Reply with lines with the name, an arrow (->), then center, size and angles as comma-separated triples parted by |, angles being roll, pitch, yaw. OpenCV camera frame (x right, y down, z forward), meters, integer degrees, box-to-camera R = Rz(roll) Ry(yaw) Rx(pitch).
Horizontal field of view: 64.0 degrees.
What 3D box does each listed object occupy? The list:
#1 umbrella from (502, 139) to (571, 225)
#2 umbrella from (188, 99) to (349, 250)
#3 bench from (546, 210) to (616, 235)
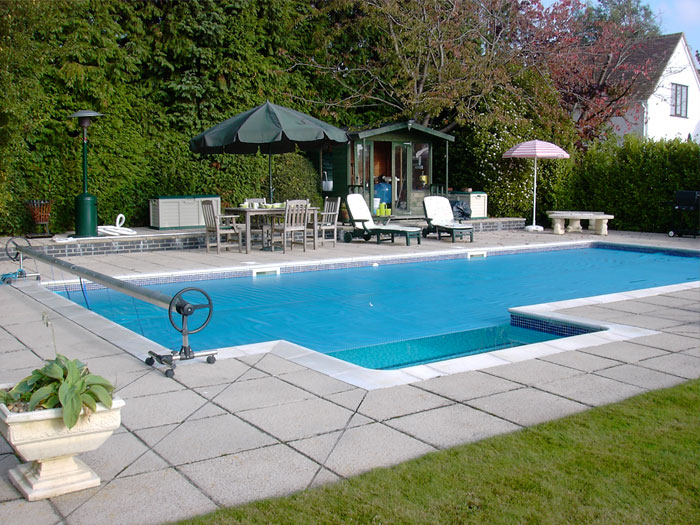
umbrella -> 6.184, -2.567, 18.726 | 2.556, 3.748, 2.759 | 3, 9, 20
umbrella -> -1.815, -2.298, 12.508 | 2.627, 2.038, 2.768 | -2, 3, 36
bench -> 6.927, -1.271, 17.118 | 1.537, 0.620, 2.345 | 3, 9, 16
